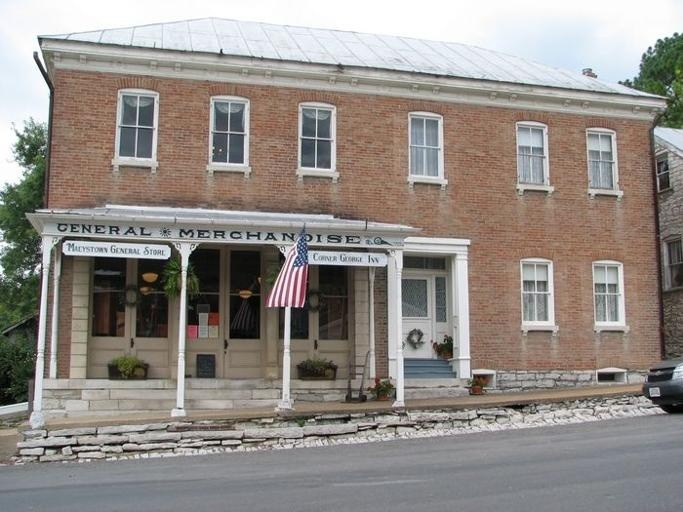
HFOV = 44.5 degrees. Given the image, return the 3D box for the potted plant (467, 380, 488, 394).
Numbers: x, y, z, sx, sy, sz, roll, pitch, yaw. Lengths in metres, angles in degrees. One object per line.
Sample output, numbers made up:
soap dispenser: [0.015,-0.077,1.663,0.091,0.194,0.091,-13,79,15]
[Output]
potted plant: [3.754,3.672,23.172,0.461,0.423,0.443,9,-19,-23]

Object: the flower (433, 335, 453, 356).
flower: [2.896,2.597,24.034,0.517,0.625,0.642,-4,-15,22]

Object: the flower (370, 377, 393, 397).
flower: [1.039,3.396,21.751,0.479,0.327,0.476,-5,-12,19]

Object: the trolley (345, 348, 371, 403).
trolley: [0.315,3.126,21.854,0.700,1.393,0.542,-8,-13,44]

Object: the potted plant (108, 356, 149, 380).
potted plant: [-5.407,2.848,21.509,0.698,0.403,0.690,0,-8,17]

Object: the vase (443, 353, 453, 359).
vase: [3.031,2.853,23.866,0.170,0.119,0.165,3,-7,-16]

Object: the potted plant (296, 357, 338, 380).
potted plant: [-0.668,3.033,22.473,1.050,0.598,0.619,1,-10,-9]

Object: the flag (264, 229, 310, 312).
flag: [-1.255,0.284,19.876,0.837,1.838,0.432,-1,-10,5]
